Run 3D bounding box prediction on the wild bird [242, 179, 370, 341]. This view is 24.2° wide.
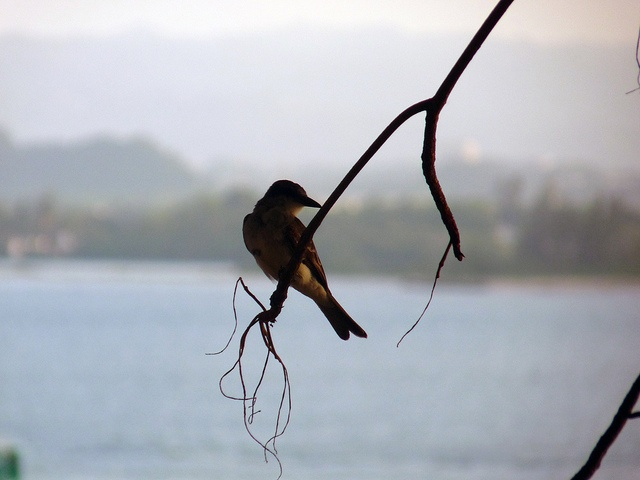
[{"bbox_3d":[-0.160,0.050,7.351,0.468,0.709,0.258,-53,10,-24],"label":"wild bird"}]
